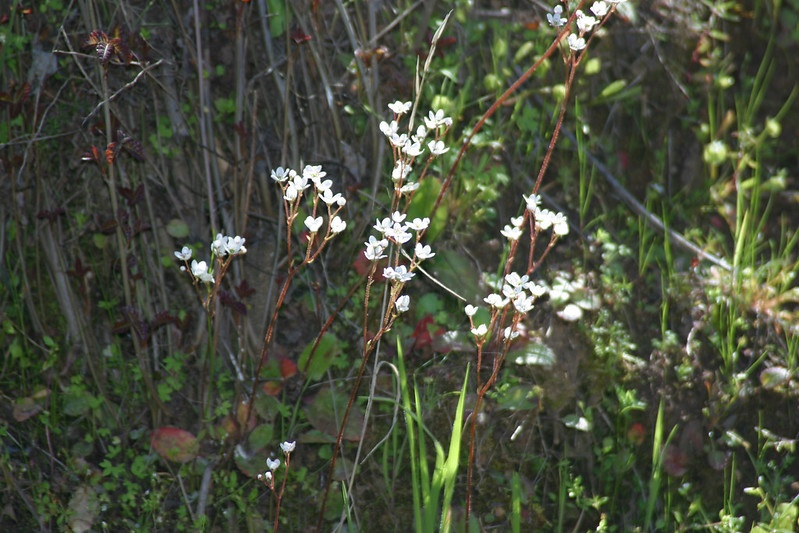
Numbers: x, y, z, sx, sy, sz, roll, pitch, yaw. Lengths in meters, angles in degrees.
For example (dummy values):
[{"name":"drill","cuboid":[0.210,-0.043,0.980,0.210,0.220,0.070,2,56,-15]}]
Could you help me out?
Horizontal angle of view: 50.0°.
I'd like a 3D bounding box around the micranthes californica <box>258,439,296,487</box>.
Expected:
[{"name":"micranthes californica","cuboid":[-0.430,0.685,2.983,0.068,0.155,0.096,-9,53,-22]}]
